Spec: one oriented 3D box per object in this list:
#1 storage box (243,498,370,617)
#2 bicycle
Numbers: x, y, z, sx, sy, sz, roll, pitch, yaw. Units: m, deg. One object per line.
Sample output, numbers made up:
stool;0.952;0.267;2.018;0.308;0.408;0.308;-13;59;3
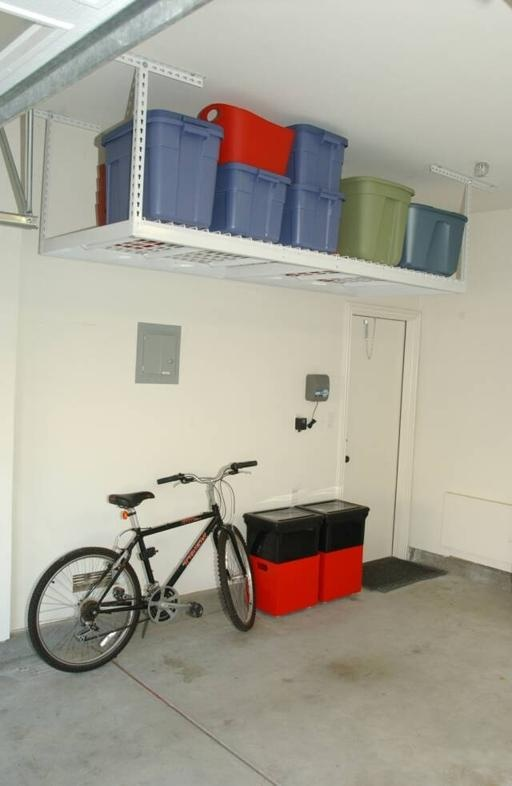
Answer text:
storage box;0.321;1.087;4.400;0.856;0.562;0.358;2;2;-42
bicycle;-0.740;0.917;3.756;1.438;0.935;0.637;-6;6;-42
